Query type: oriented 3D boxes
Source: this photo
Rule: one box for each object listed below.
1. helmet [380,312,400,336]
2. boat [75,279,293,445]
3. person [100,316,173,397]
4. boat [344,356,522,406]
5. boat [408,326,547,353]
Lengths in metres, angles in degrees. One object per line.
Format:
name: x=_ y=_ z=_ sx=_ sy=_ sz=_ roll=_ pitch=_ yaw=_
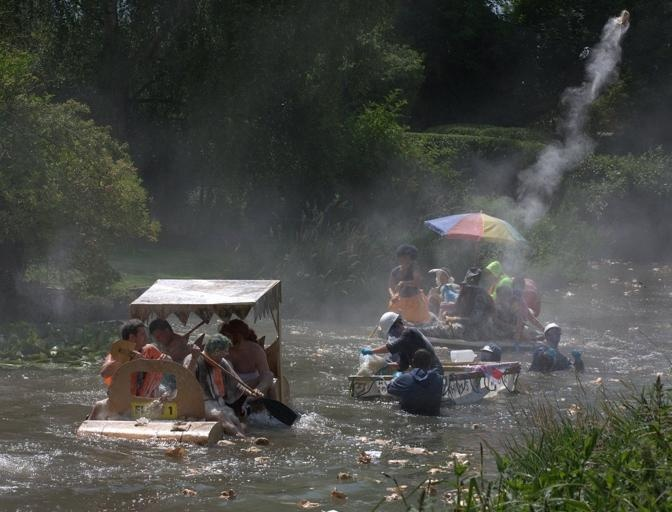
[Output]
helmet: x=1.171 y=1.512 z=23.087 sx=0.348 sy=0.456 sz=0.509 roll=3 pitch=-7 yaw=-29
boat: x=-2.866 y=2.004 z=21.511 sx=2.564 sy=2.615 sz=3.860 roll=2 pitch=3 yaw=10
person: x=-3.999 y=2.116 z=20.979 sx=1.151 sy=1.940 sz=1.045 roll=-3 pitch=-24 yaw=-24
boat: x=2.441 y=2.861 z=23.040 sx=3.807 sy=0.959 sz=1.199 roll=4 pitch=-8 yaw=-33
boat: x=3.741 y=2.237 z=25.982 sx=2.909 sy=0.424 sz=1.096 roll=5 pitch=-19 yaw=-5
